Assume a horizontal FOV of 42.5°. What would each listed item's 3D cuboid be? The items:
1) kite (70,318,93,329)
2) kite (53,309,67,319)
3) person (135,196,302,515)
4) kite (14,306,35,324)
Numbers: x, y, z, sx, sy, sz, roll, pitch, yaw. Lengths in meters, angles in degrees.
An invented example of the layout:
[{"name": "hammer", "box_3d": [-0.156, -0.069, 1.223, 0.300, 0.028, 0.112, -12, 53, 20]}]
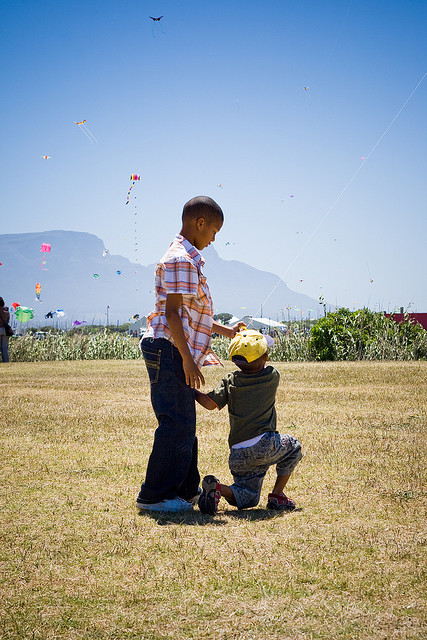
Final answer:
[{"name": "kite", "box_3d": [-4.613, 0.119, 19.086, 0.417, 0.241, 0.628, -5, -2, 25]}, {"name": "kite", "box_3d": [-4.931, -0.138, 17.737, 0.306, 0.404, 0.163, -6, 21, 12]}, {"name": "person", "box_3d": [0.047, 0.170, 2.654, 0.791, 1.488, 0.776, 2, -2, -7]}, {"name": "kite", "box_3d": [-5.509, -0.214, 15.853, 0.484, 0.506, 0.502, -2, -17, -3]}]
